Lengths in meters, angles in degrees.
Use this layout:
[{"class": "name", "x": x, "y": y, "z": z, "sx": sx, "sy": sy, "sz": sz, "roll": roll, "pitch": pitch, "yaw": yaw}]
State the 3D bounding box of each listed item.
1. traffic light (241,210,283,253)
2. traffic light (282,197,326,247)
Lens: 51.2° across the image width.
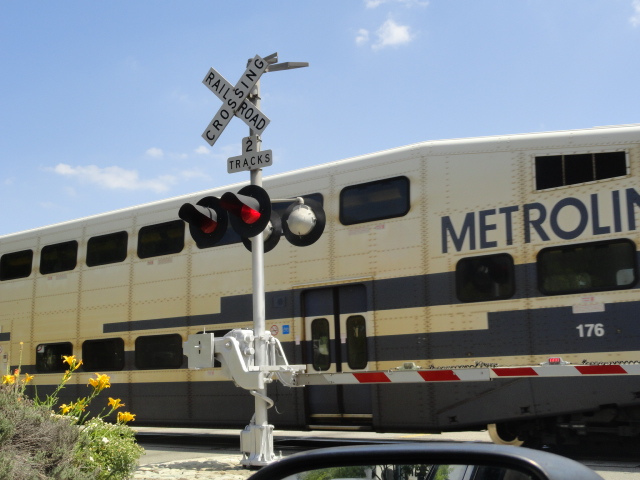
[{"class": "traffic light", "x": -0.832, "y": -0.165, "z": 11.200, "sx": 0.631, "sy": 0.680, "sz": 0.171, "roll": 4, "pitch": 4, "yaw": 14}, {"class": "traffic light", "x": -0.259, "y": -0.343, "z": 11.530, "sx": 0.745, "sy": 0.804, "sz": 0.280, "roll": 0, "pitch": 5, "yaw": 12}]
